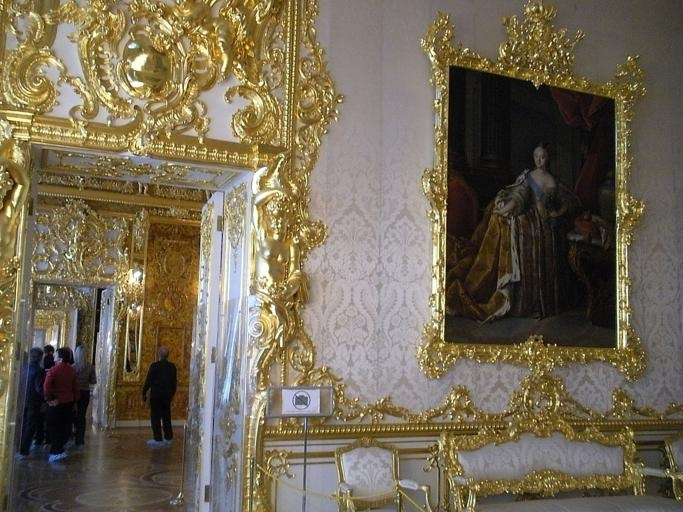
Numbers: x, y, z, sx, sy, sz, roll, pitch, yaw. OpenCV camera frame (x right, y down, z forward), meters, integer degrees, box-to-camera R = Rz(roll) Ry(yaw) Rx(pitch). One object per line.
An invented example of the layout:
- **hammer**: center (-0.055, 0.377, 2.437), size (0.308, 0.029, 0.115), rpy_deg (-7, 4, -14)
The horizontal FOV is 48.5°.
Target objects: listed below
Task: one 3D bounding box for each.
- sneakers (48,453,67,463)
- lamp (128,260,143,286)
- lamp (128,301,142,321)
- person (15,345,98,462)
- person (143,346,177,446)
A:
- **sneakers**: center (-4.606, 3.273, 12.328), size (0.288, 0.142, 0.120), rpy_deg (3, -3, -15)
- **lamp**: center (-4.472, 0.356, 16.545), size (0.103, 0.564, 0.389), rpy_deg (-6, -14, 34)
- **lamp**: center (-4.512, 1.197, 16.599), size (0.308, 0.327, 0.075), rpy_deg (6, 0, -42)
- **person**: center (-4.789, 2.496, 12.894), size (0.662, 1.859, 1.510), rpy_deg (6, -12, -19)
- **person**: center (-3.412, 2.625, 14.275), size (0.584, 1.802, 0.901), rpy_deg (5, -12, -12)
